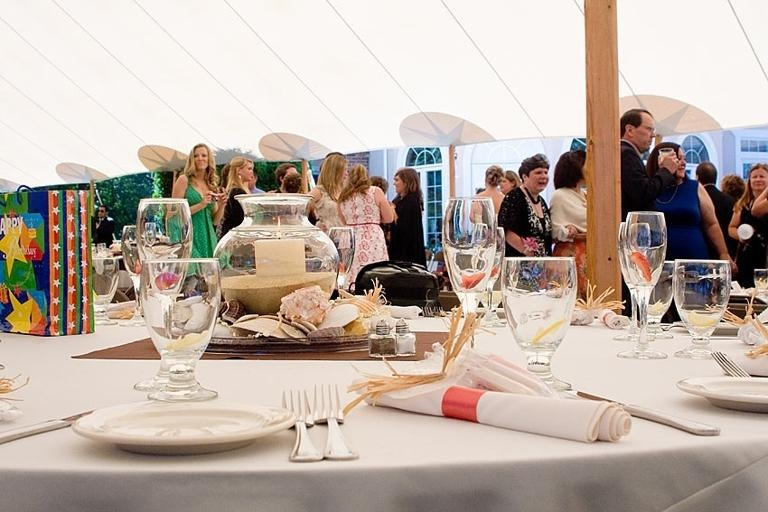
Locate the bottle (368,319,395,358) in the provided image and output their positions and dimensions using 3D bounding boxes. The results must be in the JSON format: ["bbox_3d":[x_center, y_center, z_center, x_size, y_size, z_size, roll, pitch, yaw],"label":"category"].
[{"bbox_3d":[-0.003,0.183,1.355,0.066,0.098,0.067,-1,3,0],"label":"bottle"}]

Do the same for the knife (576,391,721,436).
[{"bbox_3d":[0.391,0.233,0.890,0.032,0.013,0.281,2,2,-25],"label":"knife"}]

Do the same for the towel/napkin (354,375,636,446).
[{"bbox_3d":[0.143,0.188,0.920,0.399,0.060,0.100,2,0,37],"label":"towel/napkin"}]

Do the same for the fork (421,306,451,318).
[{"bbox_3d":[0.183,0.204,2.187,0.051,0.014,0.094,3,13,-1],"label":"fork"}]

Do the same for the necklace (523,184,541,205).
[{"bbox_3d":[1.100,-0.433,4.604,0.122,0.160,0.041,-9,-25,-37],"label":"necklace"}]

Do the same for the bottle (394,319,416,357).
[{"bbox_3d":[0.045,0.185,1.379,0.062,0.115,0.066,-1,3,0],"label":"bottle"}]
